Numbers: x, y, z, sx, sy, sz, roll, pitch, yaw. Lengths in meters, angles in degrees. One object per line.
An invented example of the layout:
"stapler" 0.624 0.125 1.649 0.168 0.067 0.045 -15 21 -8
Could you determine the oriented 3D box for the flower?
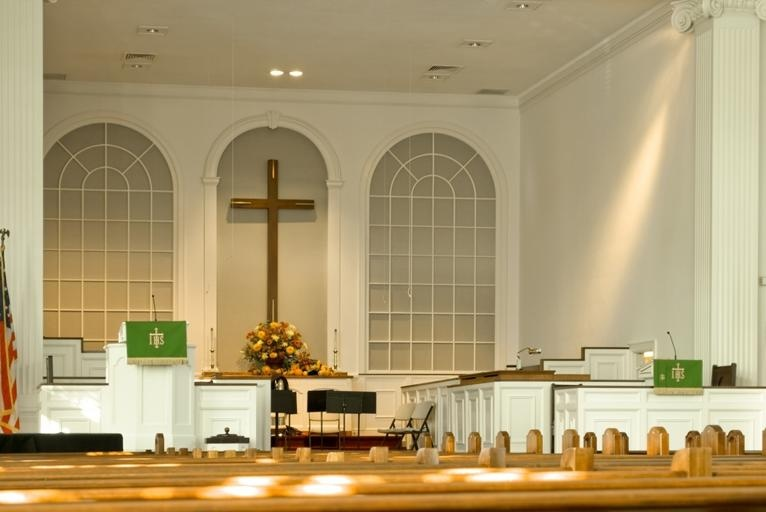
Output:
"flower" -1.604 1.451 22.421 0.919 0.632 1.178 1 -4 -5
